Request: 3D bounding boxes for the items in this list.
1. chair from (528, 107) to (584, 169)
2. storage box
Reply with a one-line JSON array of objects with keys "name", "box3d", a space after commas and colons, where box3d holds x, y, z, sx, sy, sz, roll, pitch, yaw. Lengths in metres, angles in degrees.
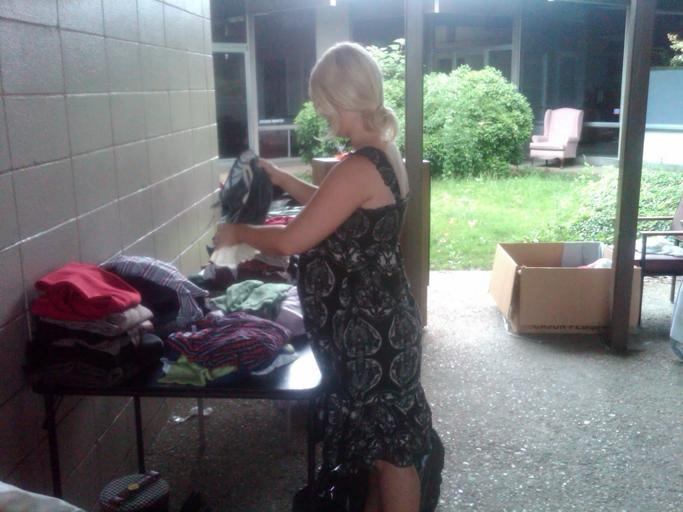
[{"name": "chair", "box3d": [4.511, -2.503, 11.480, 0.947, 1.201, 1.076, 6, 14, 24]}, {"name": "storage box", "box3d": [1.715, 0.263, 4.343, 0.786, 0.510, 0.807, 0, 11, 7]}]
